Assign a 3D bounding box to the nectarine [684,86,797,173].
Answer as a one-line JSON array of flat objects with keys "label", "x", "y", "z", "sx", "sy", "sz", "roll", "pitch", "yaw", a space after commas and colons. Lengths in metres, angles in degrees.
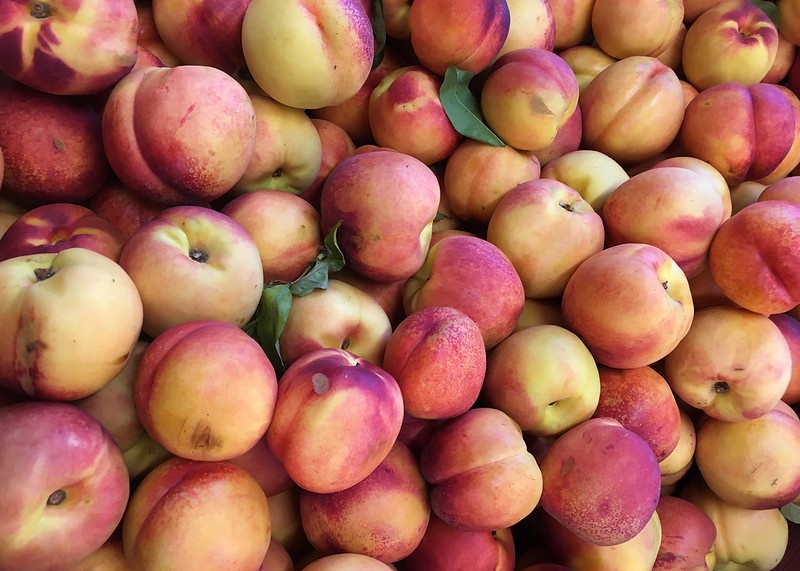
[{"label": "nectarine", "x": 0.890, "y": -0.400, "z": 2.052, "sx": 0.236, "sy": 0.232, "sz": 0.247, "roll": 18, "pitch": 78, "yaw": 35}]
